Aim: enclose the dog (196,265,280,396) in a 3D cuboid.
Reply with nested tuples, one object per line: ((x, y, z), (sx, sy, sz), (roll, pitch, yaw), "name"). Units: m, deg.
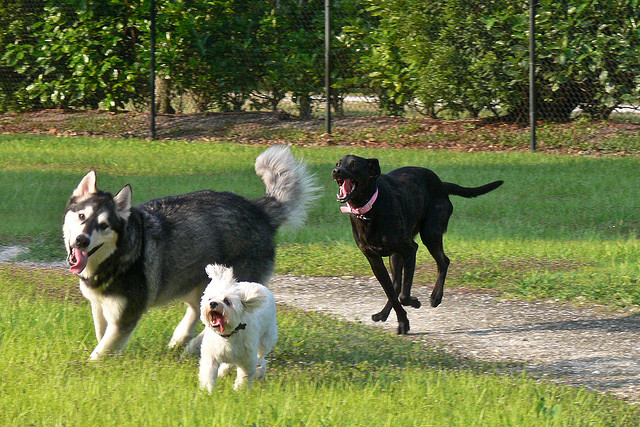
((-1.135, 1.489, 14.629), (0.696, 1.607, 1.296), (8, 14, 41), "dog")
